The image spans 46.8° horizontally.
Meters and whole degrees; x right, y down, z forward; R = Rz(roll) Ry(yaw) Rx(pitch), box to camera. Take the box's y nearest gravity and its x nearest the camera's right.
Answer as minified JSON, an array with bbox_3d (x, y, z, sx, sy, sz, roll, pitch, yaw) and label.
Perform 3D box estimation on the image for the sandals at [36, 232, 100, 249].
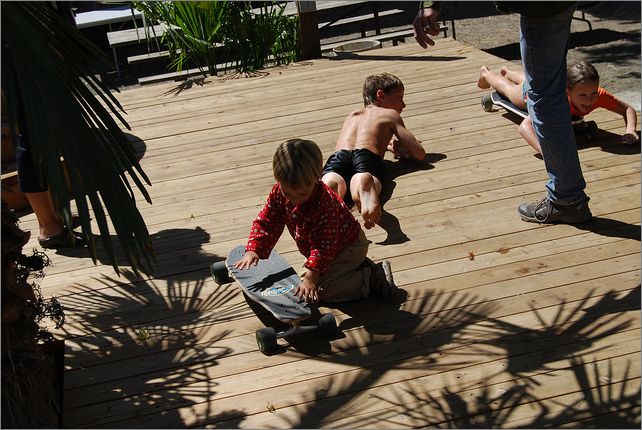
[{"bbox_3d":[-1.377,0.139,3.952,0.273,0.081,0.092,-5,22,-7],"label":"sandals"}]

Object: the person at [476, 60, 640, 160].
[{"bbox_3d":[1.586,-0.876,5.027,0.632,0.447,1.126,-16,35,-7],"label":"person"}]

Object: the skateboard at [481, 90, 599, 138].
[{"bbox_3d":[1.482,-0.698,5.050,0.309,0.102,0.737,-20,37,-24],"label":"skateboard"}]

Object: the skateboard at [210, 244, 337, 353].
[{"bbox_3d":[-0.251,0.375,3.700,0.395,0.182,0.657,-16,41,-27],"label":"skateboard"}]

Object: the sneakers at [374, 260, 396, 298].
[{"bbox_3d":[0.310,0.323,3.713,0.083,0.086,0.193,3,46,-12],"label":"sneakers"}]

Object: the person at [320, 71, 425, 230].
[{"bbox_3d":[0.270,-0.431,4.680,0.608,0.474,1.169,9,44,21],"label":"person"}]

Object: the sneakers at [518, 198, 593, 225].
[{"bbox_3d":[1.298,-0.029,4.096,0.364,0.129,0.140,2,23,22],"label":"sneakers"}]
